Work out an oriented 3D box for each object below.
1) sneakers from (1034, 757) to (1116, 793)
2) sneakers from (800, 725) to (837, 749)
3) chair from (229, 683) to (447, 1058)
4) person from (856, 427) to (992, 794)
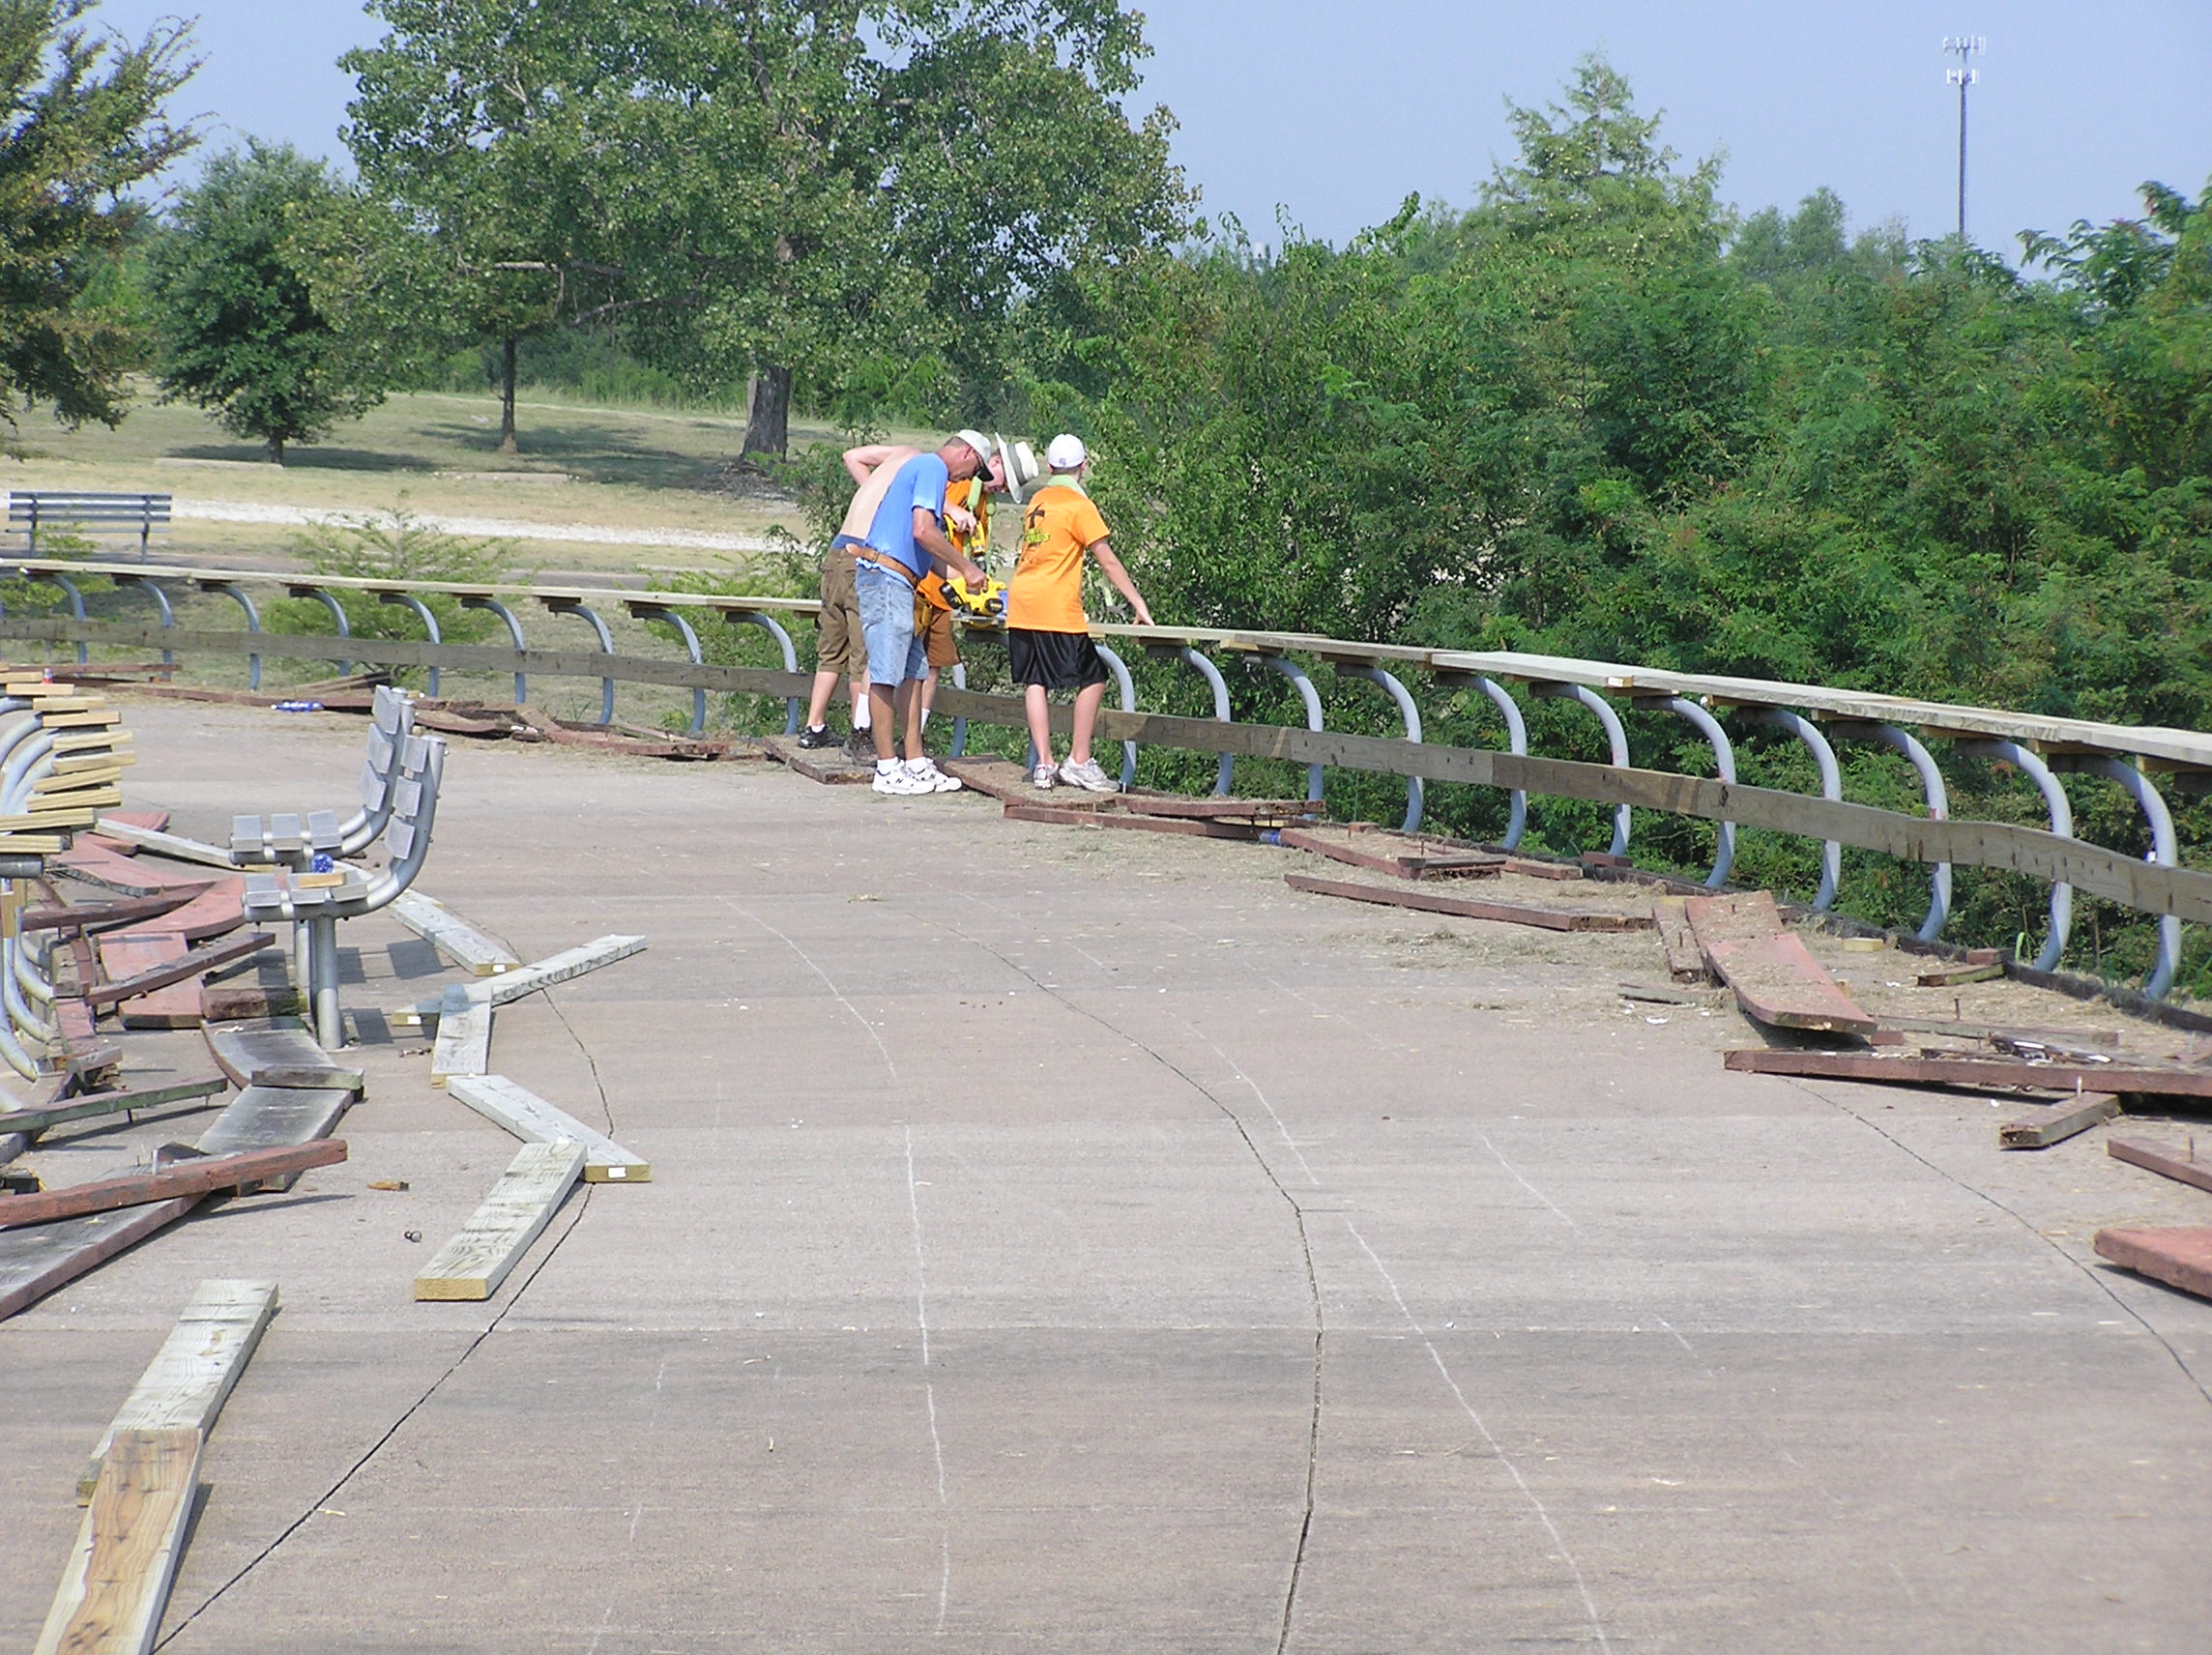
[{"bbox_3d":[-0.285,-0.405,36.925,0.698,0.236,0.241,1,3,2],"label":"sneakers"},{"bbox_3d":[-2.426,-0.765,38.977,0.250,0.164,0.443,0,5,-16],"label":"sneakers"},{"bbox_3d":[-5.346,0.387,32.691,1.366,1.640,2.872,0,9,-10],"label":"chair"},{"bbox_3d":[-1.534,-1.689,36.979,0.896,2.944,0.959,4,8,4],"label":"person"}]
